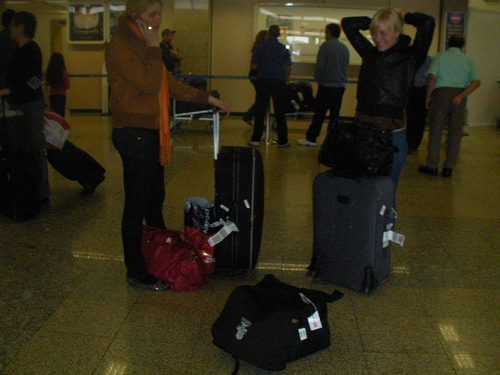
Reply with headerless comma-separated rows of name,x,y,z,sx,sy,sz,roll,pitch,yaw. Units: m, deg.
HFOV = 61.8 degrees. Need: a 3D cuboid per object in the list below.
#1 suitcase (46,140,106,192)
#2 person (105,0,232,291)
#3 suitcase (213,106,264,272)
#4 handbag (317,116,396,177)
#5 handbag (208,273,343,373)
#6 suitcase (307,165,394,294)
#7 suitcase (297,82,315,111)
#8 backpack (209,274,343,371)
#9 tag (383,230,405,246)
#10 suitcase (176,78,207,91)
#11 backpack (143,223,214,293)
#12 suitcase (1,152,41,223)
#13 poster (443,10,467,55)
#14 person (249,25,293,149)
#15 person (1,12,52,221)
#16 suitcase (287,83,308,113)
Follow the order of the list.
suitcase,-1.910,-0.304,4.480,0.223,0.662,0.251,5,46,47
person,-0.649,-0.254,2.681,0.507,1.747,0.615,3,18,2
suitcase,-0.089,0.157,2.823,0.323,0.772,0.229,0,19,-5
handbag,0.718,-0.340,2.870,0.555,0.486,0.280,8,24,39
handbag,0.151,0.653,2.152,0.406,0.176,0.524,10,26,39
suitcase,0.676,0.267,2.774,0.554,0.761,0.365,12,21,29
suitcase,0.941,-1.574,7.206,0.302,0.506,0.233,4,18,6
backpack,0.144,0.701,2.192,0.512,0.290,0.562,11,20,26
tag,0.960,0.341,2.799,0.198,0.104,0.108,3,10,-45
suitcase,-0.931,-1.637,6.575,0.228,0.184,0.452,13,20,31
backpack,-0.470,0.449,2.747,0.504,0.214,0.357,9,53,-2
suitcase,-2.110,-0.016,3.748,0.328,0.579,0.346,-4,19,-18
poster,4.153,-3.179,8.409,0.636,0.755,0.256,-8,21,-28
person,0.324,-1.588,6.656,0.688,1.872,0.467,2,19,-1
person,-2.034,-0.639,3.741,0.323,1.773,0.677,-3,19,-14
suitcase,0.787,-1.562,7.120,0.179,0.472,0.323,-4,34,14
